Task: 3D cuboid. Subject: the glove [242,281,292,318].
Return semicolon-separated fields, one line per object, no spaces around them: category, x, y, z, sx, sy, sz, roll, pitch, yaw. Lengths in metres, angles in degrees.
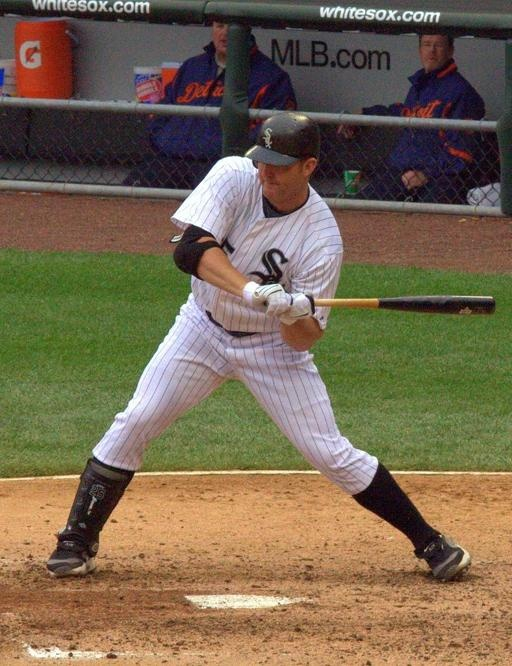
glove;0.024;-0.090;2.590;0.129;0.087;0.075;3;9;11

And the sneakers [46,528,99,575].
sneakers;-0.517;0.649;2.840;0.100;0.083;0.202;7;-8;7

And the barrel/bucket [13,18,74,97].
barrel/bucket;-1.528;-1.961;6.999;0.406;0.555;0.381;2;9;0

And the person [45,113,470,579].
person;0.026;0.055;2.774;1.142;1.364;0.381;4;10;12

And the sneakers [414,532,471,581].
sneakers;0.570;0.670;2.930;0.113;0.069;0.209;33;6;13

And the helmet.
helmet;0.077;-0.535;2.689;0.164;0.094;0.220;24;25;38
